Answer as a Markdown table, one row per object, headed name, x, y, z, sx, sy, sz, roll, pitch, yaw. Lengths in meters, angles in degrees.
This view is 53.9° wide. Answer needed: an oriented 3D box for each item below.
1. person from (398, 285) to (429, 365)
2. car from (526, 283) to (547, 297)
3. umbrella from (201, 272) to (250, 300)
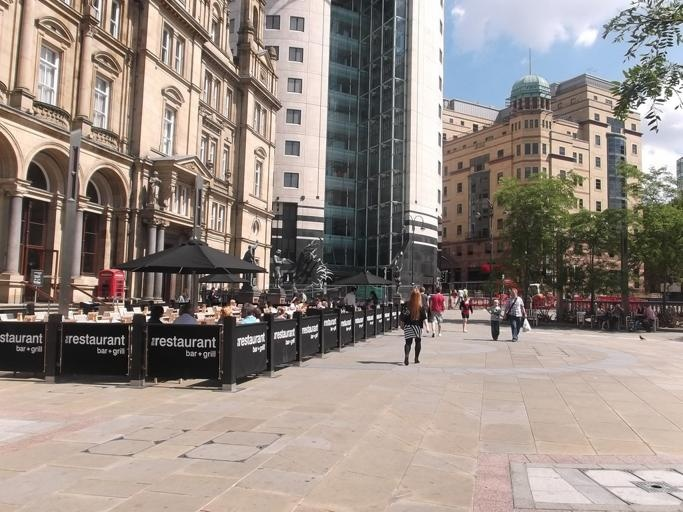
| name | x | y | z | sx | sy | sz | roll | pitch | yaw |
| --- | --- | --- | --- | --- | --- | --- | --- | --- | --- |
| person | 2.023 | 2.075 | 19.326 | 1.090 | 2.016 | 0.886 | 4 | -3 | -39 |
| car | 13.677 | 2.334 | 46.884 | 1.123 | 0.779 | 4.030 | -4 | -7 | 16 |
| umbrella | -5.823 | 1.677 | 33.264 | 1.693 | 0.810 | 1.625 | 1 | 0 | 14 |
